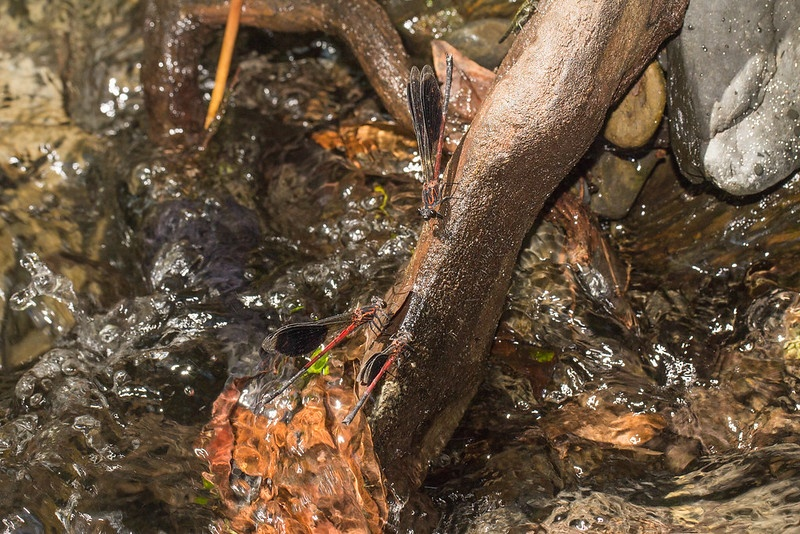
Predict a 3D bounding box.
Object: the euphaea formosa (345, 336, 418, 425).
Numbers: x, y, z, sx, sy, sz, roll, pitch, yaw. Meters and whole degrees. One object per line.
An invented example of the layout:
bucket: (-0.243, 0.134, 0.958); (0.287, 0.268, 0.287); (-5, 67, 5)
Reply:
euphaea formosa: (-0.067, 0.449, 3.666); (0.077, 0.109, 0.363); (30, 79, 35)

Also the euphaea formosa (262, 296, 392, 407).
euphaea formosa: (-0.296, 0.282, 3.601); (0.590, 0.233, 0.327); (-31, 56, 15)
